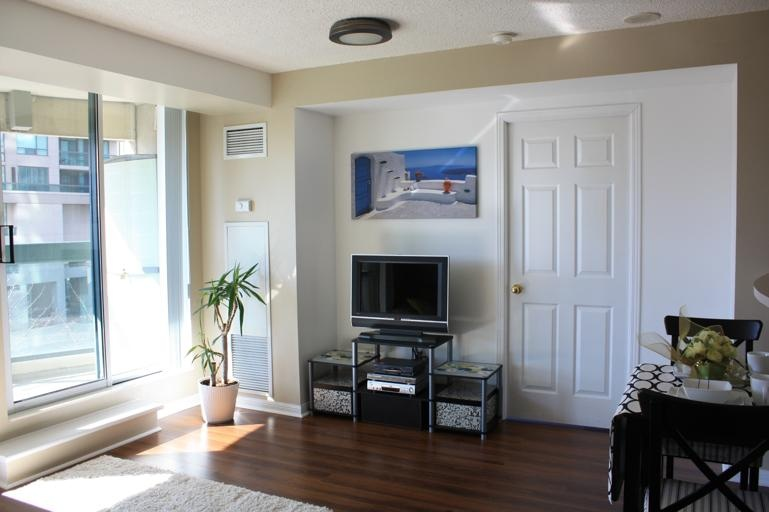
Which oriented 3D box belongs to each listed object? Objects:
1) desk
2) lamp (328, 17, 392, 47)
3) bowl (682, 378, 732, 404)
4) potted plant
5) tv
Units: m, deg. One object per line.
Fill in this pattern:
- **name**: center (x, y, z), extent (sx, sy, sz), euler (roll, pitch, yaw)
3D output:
- **desk**: center (0.183, 1.162, 5.272), extent (1.816, 0.695, 0.593), euler (0, 4, 24)
- **lamp**: center (-0.177, -1.719, 4.253), extent (0.487, 0.157, 0.269), euler (-1, 12, 1)
- **bowl**: center (1.805, 0.736, 3.099), extent (0.220, 0.063, 0.152), euler (0, 0, 24)
- **potted plant**: center (-1.555, 0.792, 5.462), extent (0.733, 1.453, 0.927), euler (-6, 14, -20)
- **tv**: center (0.178, 0.346, 5.142), extent (0.865, 0.526, 0.084), euler (0, -1, 21)
